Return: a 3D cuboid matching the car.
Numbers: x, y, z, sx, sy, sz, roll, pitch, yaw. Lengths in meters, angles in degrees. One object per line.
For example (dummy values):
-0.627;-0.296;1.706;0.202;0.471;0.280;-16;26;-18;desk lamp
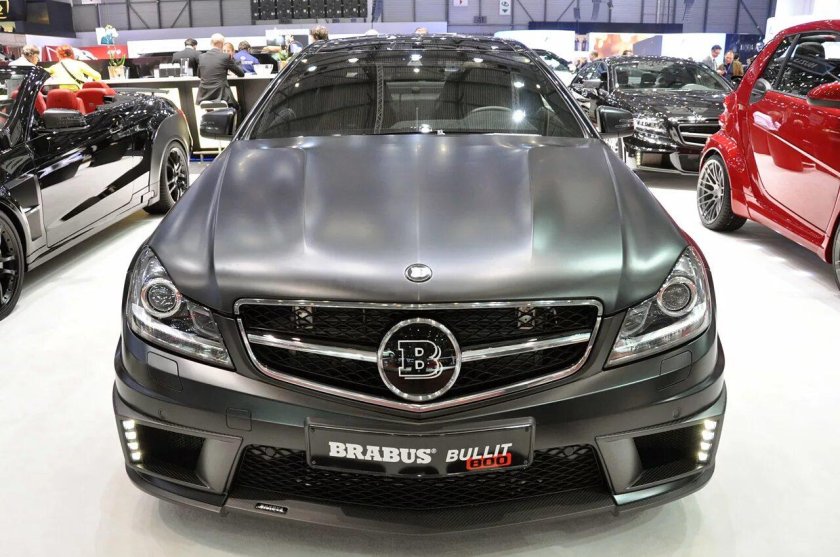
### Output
0.074;-0.270;2.300;1.433;0.936;2.306;0;18;1;car
